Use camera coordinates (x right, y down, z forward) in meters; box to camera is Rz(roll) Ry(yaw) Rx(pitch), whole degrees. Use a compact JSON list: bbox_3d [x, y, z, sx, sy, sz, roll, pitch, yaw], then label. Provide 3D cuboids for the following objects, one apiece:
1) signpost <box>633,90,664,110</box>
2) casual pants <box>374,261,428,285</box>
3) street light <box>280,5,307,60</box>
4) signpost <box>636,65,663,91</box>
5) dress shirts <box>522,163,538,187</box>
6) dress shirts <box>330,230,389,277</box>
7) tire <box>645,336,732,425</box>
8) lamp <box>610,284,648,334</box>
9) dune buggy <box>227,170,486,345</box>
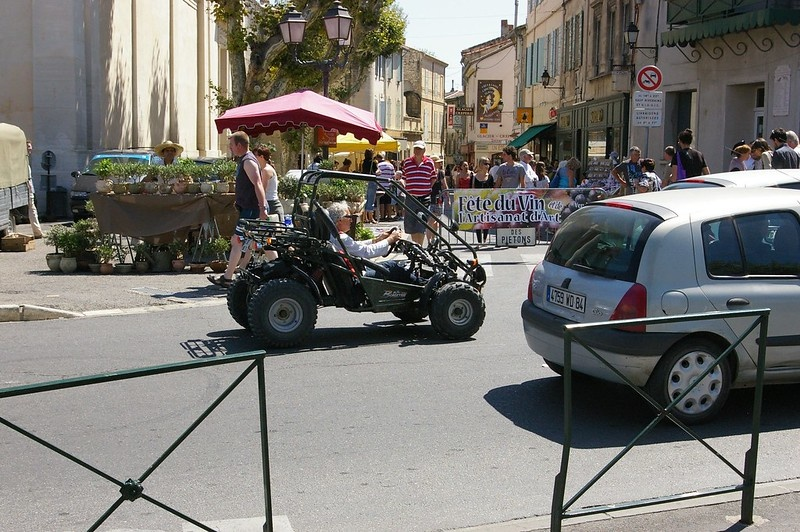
[{"bbox_3d":[5.041,-3.380,18.769,0.733,0.370,0.530,-3,8,-15],"label":"signpost"},{"bbox_3d":[0.025,0.074,11.595,0.427,0.159,0.323,8,19,-23],"label":"casual pants"},{"bbox_3d":[-2.493,-5.402,21.229,0.551,1.423,2.209,-2,7,-7],"label":"street light"},{"bbox_3d":[5.107,-3.877,19.010,0.519,0.428,0.337,-3,7,-17],"label":"signpost"},{"bbox_3d":[2.962,-2.078,21.222,0.359,0.705,0.702,-1,8,12],"label":"dress shirts"},{"bbox_3d":[-0.513,-0.197,11.373,0.603,0.240,0.480,13,10,-18],"label":"dress shirts"},{"bbox_3d":[2.578,1.009,8.339,0.573,0.596,0.194,33,0,-2],"label":"tire"},{"bbox_3d":[2.003,0.376,8.410,0.332,0.436,0.573,6,12,26],"label":"lamp"},{"bbox_3d":[-0.395,-0.153,11.751,3.055,2.064,1.718,-2,8,-17],"label":"dune buggy"}]
